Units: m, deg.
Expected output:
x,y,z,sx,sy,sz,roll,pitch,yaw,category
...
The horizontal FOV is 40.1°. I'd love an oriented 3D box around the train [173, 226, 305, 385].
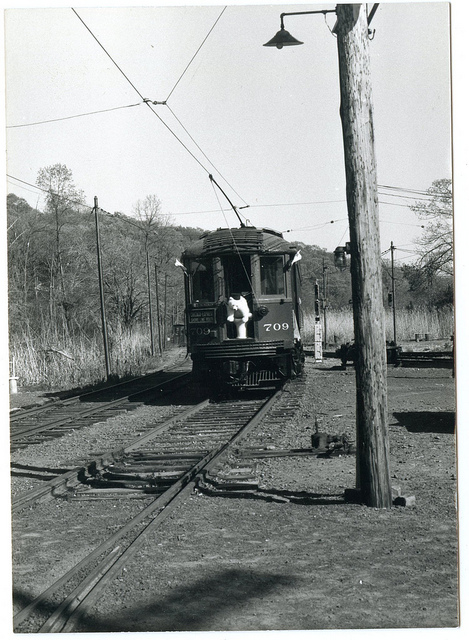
x,y,z,sx,sy,sz,roll,pitch,yaw,category
0.102,-0.284,14.346,2.487,3.215,1.181,-5,1,-11,train
